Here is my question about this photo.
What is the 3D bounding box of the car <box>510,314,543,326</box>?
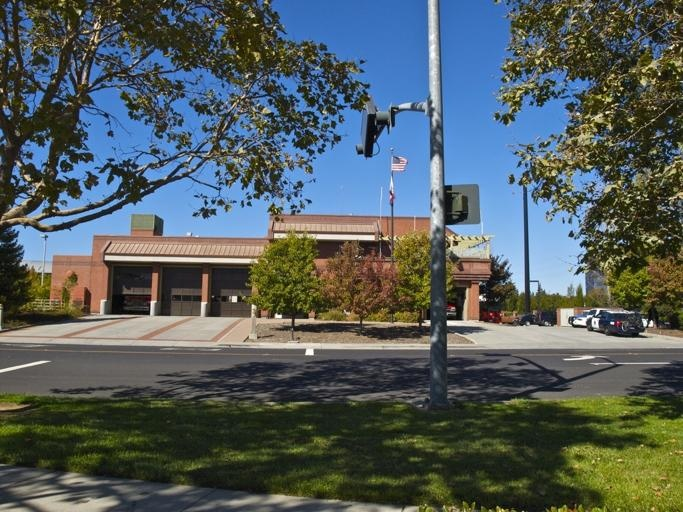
[{"bbox_3d":[15.327,5.327,47.671,2.192,1.047,1.261,2,-4,-14],"label":"car"}]

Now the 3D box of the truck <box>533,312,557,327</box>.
[{"bbox_3d":[16.894,5.179,48.416,1.705,0.960,1.144,1,-1,-21],"label":"truck"}]

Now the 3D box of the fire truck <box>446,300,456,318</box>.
[{"bbox_3d":[10.645,5.169,56.252,0.906,1.687,6.282,0,-3,11],"label":"fire truck"}]
